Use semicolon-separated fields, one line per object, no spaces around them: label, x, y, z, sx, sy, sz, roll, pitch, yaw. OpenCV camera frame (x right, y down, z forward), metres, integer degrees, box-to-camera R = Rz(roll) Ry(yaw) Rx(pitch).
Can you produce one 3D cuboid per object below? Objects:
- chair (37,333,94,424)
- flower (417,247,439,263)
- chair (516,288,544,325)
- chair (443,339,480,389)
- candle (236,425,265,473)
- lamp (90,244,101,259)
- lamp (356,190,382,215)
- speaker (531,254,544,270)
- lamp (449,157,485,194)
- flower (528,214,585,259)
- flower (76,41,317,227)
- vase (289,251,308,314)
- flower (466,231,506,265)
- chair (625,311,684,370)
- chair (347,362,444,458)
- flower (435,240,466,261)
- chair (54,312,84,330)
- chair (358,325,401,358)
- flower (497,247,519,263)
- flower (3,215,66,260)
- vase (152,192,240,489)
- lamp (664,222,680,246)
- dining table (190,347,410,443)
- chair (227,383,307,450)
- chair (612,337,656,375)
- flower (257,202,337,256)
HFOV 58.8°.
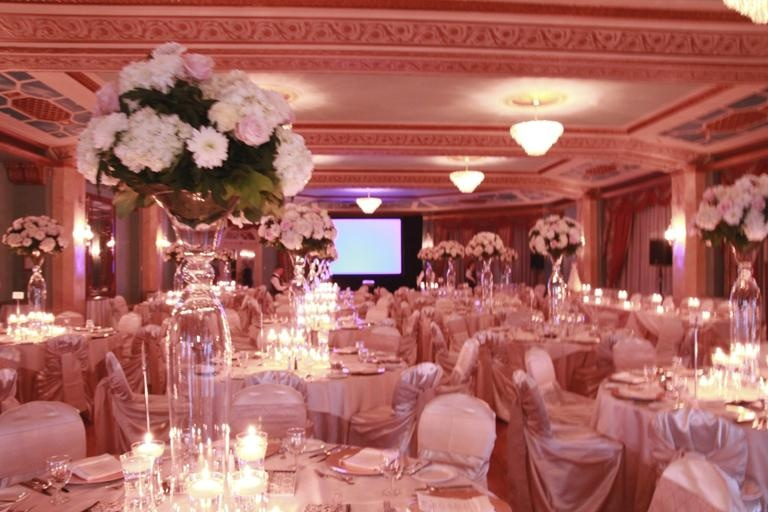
chair;-4.339;1.575;9.440;0.610;1.207;0.703;22;27;35
flower;1.108;-0.052;17.034;0.400;0.440;0.408;-2;-2;43
chair;2.776;0.958;13.024;0.488;0.904;0.497;0;-2;-4
chair;0.971;1.337;8.032;0.179;0.707;0.358;20;5;-21
candle;-1.029;1.508;5.331;0.288;0.358;0.303;0;-7;-1
lamp;-6.731;-0.122;15.835;0.262;0.321;0.262;-8;16;-38
lamp;-0.424;-1.409;18.330;0.678;0.649;0.715;0;4;0
speaker;4.825;0.176;21.358;0.416;0.437;0.204;-6;-10;40
lamp;1.783;-1.780;14.059;0.740;0.889;0.831;0;-5;-11
flower;2.513;-0.288;9.900;0.632;0.605;0.643;3;5;43
flower;-1.423;-0.857;5.470;1.405;1.098;1.445;2;2;-8
vase;-1.014;0.324;7.977;0.169;0.734;0.421;1;-5;-8
flower;2.016;-0.180;13.043;0.635;0.672;0.664;1;-2;-9
chair;4.293;1.221;11.083;0.603;0.734;0.627;11;-11;-7
chair;0.084;1.697;7.619;0.956;1.307;1.031;7;9;-4
flower;1.449;-0.125;15.289;0.481;0.348;0.574;1;-5;1
chair;-5.090;1.040;11.054;0.325;0.360;0.351;7;1;34
chair;-0.023;1.244;9.938;0.397;0.381;0.420;1;-4;-1
flower;2.801;-0.012;15.209;0.524;0.311;0.689;0;2;-1
flower;-5.385;-0.295;10.405;0.711;0.629;0.738;2;1;31
vase;-1.402;0.568;5.205;0.614;2.028;0.649;16;25;26
lamp;5.844;-0.442;13.776;0.217;0.400;0.491;0;-5;11
dining table;-1.041;1.644;7.611;1.350;0.534;1.379;-8;-19;29
chair;-1.095;1.487;6.460;0.477;0.750;0.560;2;1;-2
chair;2.989;1.179;8.134;0.414;0.326;0.379;-2;-4;17
flower;-0.970;-0.281;8.264;0.734;0.607;0.818;-1;0;27
